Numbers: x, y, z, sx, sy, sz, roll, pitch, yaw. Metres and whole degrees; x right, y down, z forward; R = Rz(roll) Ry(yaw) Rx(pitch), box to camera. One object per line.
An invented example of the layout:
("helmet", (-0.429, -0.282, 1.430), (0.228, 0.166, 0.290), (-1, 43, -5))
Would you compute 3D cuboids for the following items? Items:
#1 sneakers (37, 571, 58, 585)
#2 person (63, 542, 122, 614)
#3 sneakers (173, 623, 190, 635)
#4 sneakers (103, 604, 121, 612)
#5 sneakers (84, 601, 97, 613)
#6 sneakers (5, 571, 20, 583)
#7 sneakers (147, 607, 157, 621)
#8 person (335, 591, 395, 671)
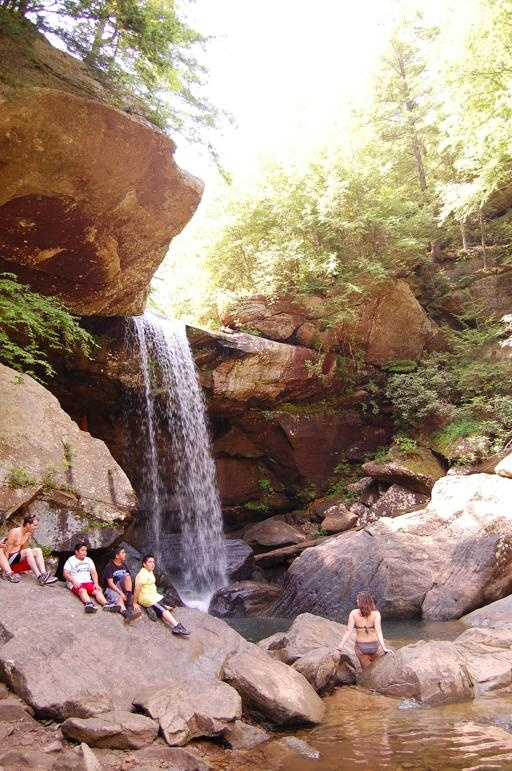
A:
("sneakers", (-2.712, 2.505, 8.148), (0.143, 0.100, 0.309), (33, -42, -14))
("person", (-2.184, 2.504, 8.150), (0.481, 0.614, 1.109), (17, -7, -40))
("sneakers", (-0.922, 3.085, 7.985), (0.259, 0.109, 0.089), (-11, -15, 36))
("sneakers", (-1.812, 2.792, 7.948), (0.221, 0.081, 0.090), (1, 5, -4))
("sneakers", (-2.016, 2.697, 7.671), (0.075, 0.074, 0.178), (-5, -33, -7))
("sneakers", (-2.989, 2.378, 7.829), (0.228, 0.095, 0.081), (6, -6, 23))
("sneakers", (-1.357, 2.974, 8.228), (0.110, 0.040, 0.157), (-17, 34, -20))
("person", (1.471, 3.385, 8.224), (0.757, 1.251, 0.568), (5, 11, 32))
